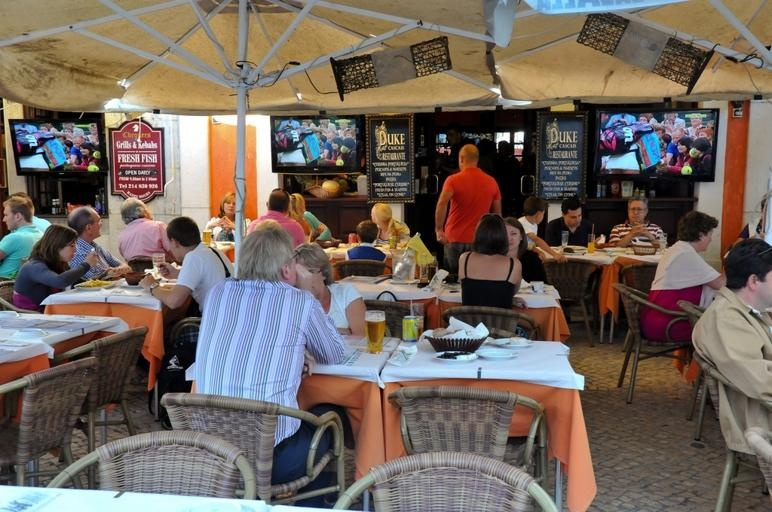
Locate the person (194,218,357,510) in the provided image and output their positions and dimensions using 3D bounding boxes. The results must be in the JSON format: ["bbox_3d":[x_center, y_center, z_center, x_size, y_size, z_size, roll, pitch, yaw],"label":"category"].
[{"bbox_3d":[-0.652,0.661,3.531,0.748,1.604,0.602,2,13,9],"label":"person"}]

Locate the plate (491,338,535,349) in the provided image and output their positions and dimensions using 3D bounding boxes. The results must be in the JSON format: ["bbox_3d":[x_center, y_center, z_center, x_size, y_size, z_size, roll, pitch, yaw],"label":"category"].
[{"bbox_3d":[0.764,0.547,3.996,0.265,0.043,0.134,2,11,12],"label":"plate"}]

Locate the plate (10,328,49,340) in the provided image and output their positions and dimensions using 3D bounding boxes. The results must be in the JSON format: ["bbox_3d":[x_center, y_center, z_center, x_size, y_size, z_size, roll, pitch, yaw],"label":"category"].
[{"bbox_3d":[-2.312,0.501,4.119,0.203,0.022,0.172,-3,11,-13],"label":"plate"}]

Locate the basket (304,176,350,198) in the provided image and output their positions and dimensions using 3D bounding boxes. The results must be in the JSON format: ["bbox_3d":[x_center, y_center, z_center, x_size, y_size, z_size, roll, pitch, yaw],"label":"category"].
[{"bbox_3d":[-1.120,-1.171,10.869,0.602,0.208,0.496,1,3,31],"label":"basket"}]

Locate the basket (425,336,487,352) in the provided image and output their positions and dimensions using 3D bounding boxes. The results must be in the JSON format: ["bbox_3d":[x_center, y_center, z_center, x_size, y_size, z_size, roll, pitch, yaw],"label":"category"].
[{"bbox_3d":[0.416,0.529,3.836,0.331,0.109,0.103,1,12,5],"label":"basket"}]

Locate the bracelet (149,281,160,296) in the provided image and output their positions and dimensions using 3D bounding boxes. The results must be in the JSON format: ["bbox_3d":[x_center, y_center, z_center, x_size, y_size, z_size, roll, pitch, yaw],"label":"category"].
[{"bbox_3d":[-1.977,0.276,5.391,0.064,0.083,0.092,26,20,-2],"label":"bracelet"}]

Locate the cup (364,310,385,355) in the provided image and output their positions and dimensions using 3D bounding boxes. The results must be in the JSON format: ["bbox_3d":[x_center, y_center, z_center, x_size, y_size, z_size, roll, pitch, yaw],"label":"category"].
[{"bbox_3d":[-0.079,0.456,3.950,0.109,0.266,0.205,-1,12,-3],"label":"cup"}]

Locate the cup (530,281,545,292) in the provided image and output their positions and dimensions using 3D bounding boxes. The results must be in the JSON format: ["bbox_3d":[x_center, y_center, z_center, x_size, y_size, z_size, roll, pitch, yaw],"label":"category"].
[{"bbox_3d":[1.382,0.278,5.826,0.096,0.077,0.115,-1,-3,-19],"label":"cup"}]

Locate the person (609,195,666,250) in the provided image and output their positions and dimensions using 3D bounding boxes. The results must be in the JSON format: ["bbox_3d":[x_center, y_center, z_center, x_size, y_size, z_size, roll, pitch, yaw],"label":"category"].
[{"bbox_3d":[3.303,-0.314,8.455,0.781,0.874,0.673,-3,8,9],"label":"person"}]

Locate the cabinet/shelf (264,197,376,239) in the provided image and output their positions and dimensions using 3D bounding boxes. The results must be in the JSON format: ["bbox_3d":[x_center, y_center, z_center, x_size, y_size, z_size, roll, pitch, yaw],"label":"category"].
[{"bbox_3d":[-0.855,-0.782,10.889,1.390,0.819,0.694,2,10,5],"label":"cabinet/shelf"}]

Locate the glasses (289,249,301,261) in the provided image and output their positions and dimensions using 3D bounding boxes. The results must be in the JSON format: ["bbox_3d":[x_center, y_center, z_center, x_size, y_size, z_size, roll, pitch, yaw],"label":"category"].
[{"bbox_3d":[-0.556,-0.007,3.809,0.022,0.061,0.067,-3,-1,-37],"label":"glasses"}]

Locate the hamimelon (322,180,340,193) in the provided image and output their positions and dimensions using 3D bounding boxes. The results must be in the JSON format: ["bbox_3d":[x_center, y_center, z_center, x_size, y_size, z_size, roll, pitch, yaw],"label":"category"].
[{"bbox_3d":[-0.948,-1.177,10.710,0.276,0.179,0.189,-1,24,2],"label":"hamimelon"}]

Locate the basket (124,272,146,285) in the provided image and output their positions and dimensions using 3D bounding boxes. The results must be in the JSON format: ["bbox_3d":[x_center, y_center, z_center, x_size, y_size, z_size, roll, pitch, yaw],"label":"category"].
[{"bbox_3d":[-2.308,0.201,5.805,0.167,0.062,0.130,2,2,-4],"label":"basket"}]
